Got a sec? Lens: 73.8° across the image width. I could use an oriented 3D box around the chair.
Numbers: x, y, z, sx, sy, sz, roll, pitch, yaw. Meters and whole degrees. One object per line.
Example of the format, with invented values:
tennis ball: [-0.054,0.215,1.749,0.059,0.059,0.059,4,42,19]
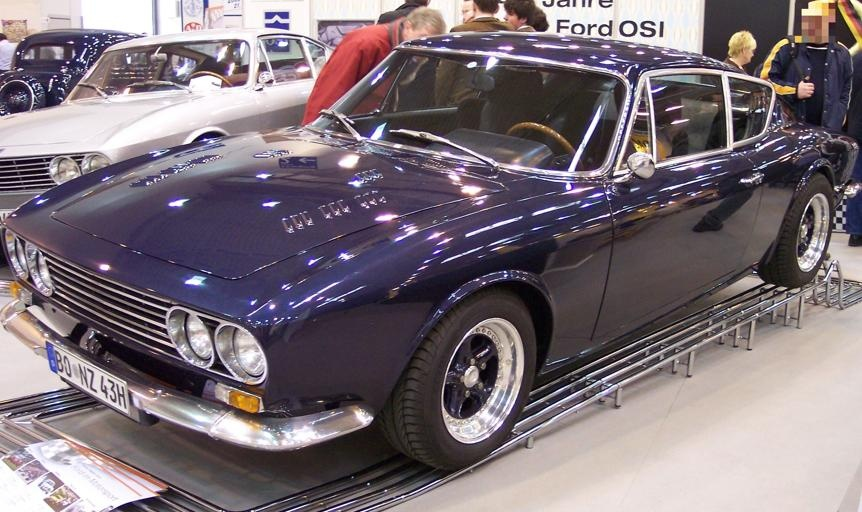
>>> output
chair: [1.048,-0.868,3.481,1.251,0.363,0.813,-10,30,-27]
